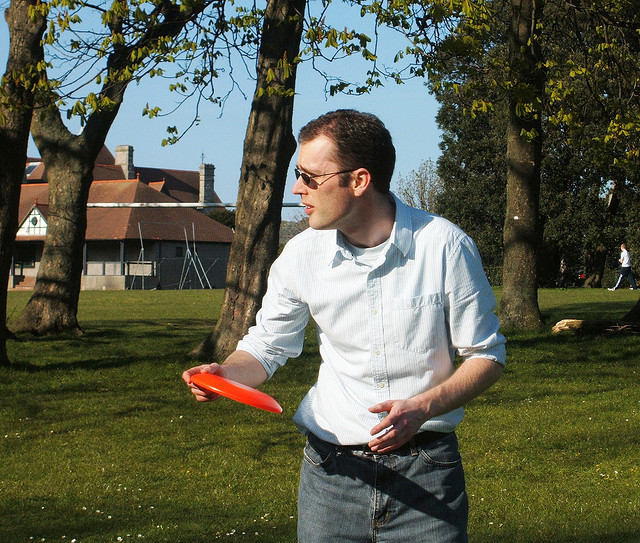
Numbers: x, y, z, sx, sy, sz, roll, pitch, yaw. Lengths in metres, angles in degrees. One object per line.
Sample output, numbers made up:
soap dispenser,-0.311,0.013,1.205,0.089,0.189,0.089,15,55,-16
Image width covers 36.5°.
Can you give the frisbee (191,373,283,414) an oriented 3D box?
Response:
frisbee,-0.631,0.981,7.802,0.418,0.094,0.435,26,-13,-17
